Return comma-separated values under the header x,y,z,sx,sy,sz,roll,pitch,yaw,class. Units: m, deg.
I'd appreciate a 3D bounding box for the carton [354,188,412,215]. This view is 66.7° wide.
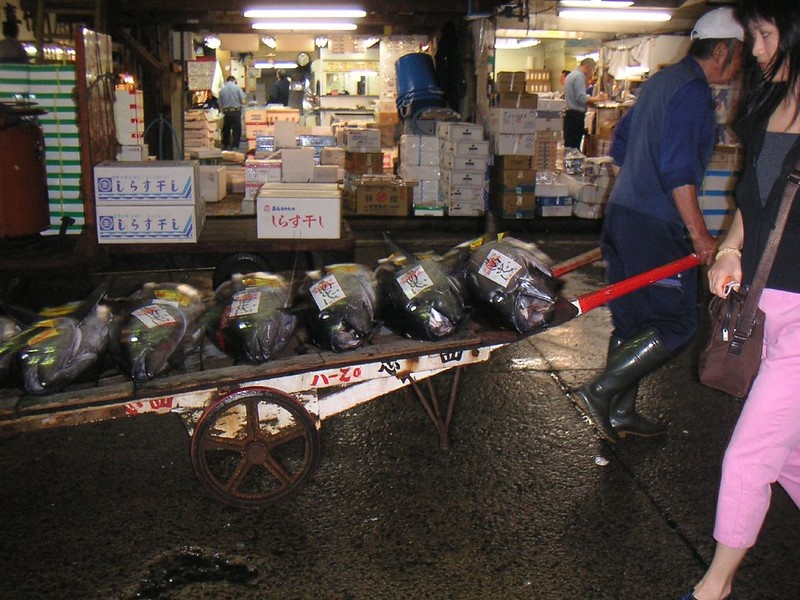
x,y,z,sx,sy,sz,roll,pitch,yaw,class
-0.278,-1.544,9.413,0.647,0.305,0.562,0,13,1,carton

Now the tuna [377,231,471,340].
x,y,z,sx,sy,sz,roll,pitch,yaw,class
0.082,-0.076,3.309,0.339,0.240,0.566,-17,44,-1,tuna

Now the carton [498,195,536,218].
x,y,z,sx,sy,sz,roll,pitch,yaw,class
1.920,-1.499,9.795,0.490,0.246,0.423,0,12,0,carton

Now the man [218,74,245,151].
x,y,z,sx,sy,sz,roll,pitch,yaw,class
0.844,-1.799,9.917,1.030,0.608,0.910,1,10,0,man

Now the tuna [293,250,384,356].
x,y,z,sx,sy,sz,roll,pitch,yaw,class
-0.328,0.010,3.258,0.427,0.229,0.482,0,41,-4,tuna

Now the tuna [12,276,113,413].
x,y,z,sx,sy,sz,roll,pitch,yaw,class
-1.620,0.232,3.019,0.547,0.457,0.440,0,18,-26,tuna

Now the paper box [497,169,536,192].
x,y,z,sx,sy,sz,roll,pitch,yaw,class
1.904,-1.901,9.705,0.457,0.230,0.399,-1,10,-6,paper box

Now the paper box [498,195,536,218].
x,y,z,sx,sy,sz,roll,pitch,yaw,class
1.899,-1.497,9.658,0.490,0.246,0.423,0,12,0,paper box

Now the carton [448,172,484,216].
x,y,z,sx,sy,sz,roll,pitch,yaw,class
1.032,-1.679,9.662,0.761,0.591,0.671,-1,14,-4,carton

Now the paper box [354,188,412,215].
x,y,z,sx,sy,sz,roll,pitch,yaw,class
-0.279,-1.539,9.586,0.647,0.305,0.562,0,13,1,paper box

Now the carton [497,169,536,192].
x,y,z,sx,sy,sz,roll,pitch,yaw,class
1.867,-1.908,9.763,0.559,0.347,0.219,1,19,9,carton

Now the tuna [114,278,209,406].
x,y,z,sx,sy,sz,roll,pitch,yaw,class
-1.256,0.106,3.184,0.454,0.202,0.666,1,44,-5,tuna

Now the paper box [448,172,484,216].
x,y,z,sx,sy,sz,roll,pitch,yaw,class
1.058,-1.679,9.661,0.761,0.591,0.671,-1,14,-4,paper box
